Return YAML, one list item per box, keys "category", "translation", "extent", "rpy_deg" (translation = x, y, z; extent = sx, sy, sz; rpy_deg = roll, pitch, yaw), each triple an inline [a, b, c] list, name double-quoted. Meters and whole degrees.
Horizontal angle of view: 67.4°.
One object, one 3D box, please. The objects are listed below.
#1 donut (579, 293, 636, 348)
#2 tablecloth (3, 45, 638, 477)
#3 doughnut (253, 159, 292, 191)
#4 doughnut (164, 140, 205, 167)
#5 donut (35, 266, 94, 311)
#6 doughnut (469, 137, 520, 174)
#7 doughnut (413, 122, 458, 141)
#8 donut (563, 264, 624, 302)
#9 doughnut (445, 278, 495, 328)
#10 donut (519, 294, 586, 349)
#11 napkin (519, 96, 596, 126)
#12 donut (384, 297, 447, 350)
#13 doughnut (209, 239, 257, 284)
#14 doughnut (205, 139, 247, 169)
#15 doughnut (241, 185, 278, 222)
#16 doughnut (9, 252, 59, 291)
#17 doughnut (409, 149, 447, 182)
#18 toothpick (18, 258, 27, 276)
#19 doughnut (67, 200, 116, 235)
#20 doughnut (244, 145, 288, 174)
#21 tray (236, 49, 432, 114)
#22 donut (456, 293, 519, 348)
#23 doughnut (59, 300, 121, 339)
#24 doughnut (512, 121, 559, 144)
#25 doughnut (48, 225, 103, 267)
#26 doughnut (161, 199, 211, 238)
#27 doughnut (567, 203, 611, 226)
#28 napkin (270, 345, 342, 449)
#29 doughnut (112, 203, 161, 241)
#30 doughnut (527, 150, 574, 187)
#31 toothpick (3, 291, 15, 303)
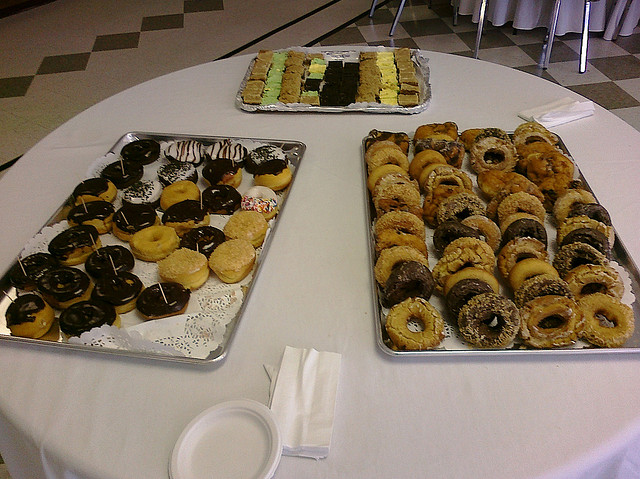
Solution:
- category: "donut"
  translation: [0.999, 0.281, 1.707]
  extent: [0.198, 0.067, 0.178]
  rpy_deg: [-5, 49, 1]
- category: "tablecloth"
  translation: [-0.191, -0.021, 2.219]
  extent: [2.561, 0.344, 2.303]
  rpy_deg: [-6, 48, -3]
- category: "doughnut"
  translation: [-0.224, -0.310, 2.282]
  extent: [0.165, 0.076, 0.149]
  rpy_deg: [13, 43, 13]
- category: "doughnut"
  translation: [-0.687, -0.436, 2.432]
  extent: [0.181, 0.057, 0.128]
  rpy_deg: [4, 43, 0]
- category: "donut"
  translation: [-0.984, 0.175, 1.832]
  extent: [0.176, 0.063, 0.170]
  rpy_deg: [12, 39, -8]
- category: "doughnut"
  translation: [0.816, -0.402, 2.226]
  extent: [0.209, 0.069, 0.180]
  rpy_deg: [-4, 77, -3]
- category: "doughnut"
  translation: [0.591, -0.547, 2.421]
  extent: [0.160, 0.041, 0.126]
  rpy_deg: [-18, 20, -36]
- category: "donut"
  translation: [1.024, 0.168, 1.844]
  extent: [0.246, 0.238, 0.075]
  rpy_deg: [8, 91, 12]
- category: "doughnut"
  translation: [0.536, 0.237, 1.729]
  extent: [0.066, 0.178, 0.196]
  rpy_deg: [-2, 15, -35]
- category: "donut"
  translation: [0.795, 0.283, 1.660]
  extent: [0.208, 0.070, 0.184]
  rpy_deg: [-9, 78, -4]
- category: "napkin"
  translation: [1.277, -0.692, 2.574]
  extent: [0.335, 0.072, 0.187]
  rpy_deg: [-16, 41, -10]
- category: "donut"
  translation: [0.329, 0.303, 1.718]
  extent: [0.209, 0.072, 0.201]
  rpy_deg: [3, 53, -3]
- category: "doughnut"
  translation: [-0.349, 0.088, 1.970]
  extent: [0.205, 0.093, 0.196]
  rpy_deg: [-1, 33, 10]
- category: "doughnut"
  translation: [-0.481, -0.433, 2.424]
  extent: [0.170, 0.050, 0.135]
  rpy_deg: [1, 42, -4]
- category: "doughnut"
  translation: [-0.298, -0.160, 2.192]
  extent: [0.215, 0.063, 0.202]
  rpy_deg: [1, 34, -30]
- category: "doughnut"
  translation: [-1.141, 0.118, 1.887]
  extent: [0.152, 0.046, 0.140]
  rpy_deg: [0, 34, -7]
- category: "doughnut"
  translation: [0.481, -0.337, 2.260]
  extent: [0.165, 0.145, 0.051]
  rpy_deg: [8, 5, 13]
- category: "toothpick"
  translation: [-1.175, 0.111, 1.884]
  extent: [0.101, 0.010, 0.007]
  rpy_deg: [41, 103, 27]
- category: "doughnut"
  translation: [-1.014, -0.118, 2.110]
  extent: [0.165, 0.076, 0.161]
  rpy_deg: [29, 44, 26]
- category: "doughnut"
  translation: [-0.279, -0.407, 2.397]
  extent: [0.176, 0.047, 0.159]
  rpy_deg: [5, 40, 10]
- category: "tray"
  translation: [0.098, -0.807, 2.692]
  extent: [0.955, 0.103, 0.550]
  rpy_deg: [1, 45, 2]
- category: "donut"
  translation: [0.581, 0.281, 1.679]
  extent: [0.195, 0.070, 0.180]
  rpy_deg: [-6, 69, -10]
- category: "doughnut"
  translation: [-0.835, 0.272, 1.744]
  extent: [0.153, 0.094, 0.150]
  rpy_deg: [35, 49, 25]
- category: "doughnut"
  translation: [1.061, -0.542, 2.373]
  extent: [0.143, 0.037, 0.137]
  rpy_deg: [-25, 48, -25]
- category: "doughnut"
  translation: [-1.024, 0.026, 2.015]
  extent: [0.178, 0.082, 0.171]
  rpy_deg: [5, 35, 8]
- category: "doughnut"
  translation: [-0.600, -0.103, 2.123]
  extent: [0.175, 0.056, 0.175]
  rpy_deg: [21, 47, 19]
- category: "doughnut"
  translation: [1.100, -0.115, 1.971]
  extent: [0.127, 0.039, 0.116]
  rpy_deg: [10, 42, 17]
- category: "napkin"
  translation: [-0.079, 0.555, 1.591]
  extent: [0.261, 0.320, 0.047]
  rpy_deg: [24, 46, 24]
- category: "doughnut"
  translation: [-0.819, -0.094, 2.101]
  extent: [0.178, 0.078, 0.163]
  rpy_deg: [-1, 39, -7]
- category: "doughnut"
  translation: [1.016, -0.323, 2.137]
  extent: [0.182, 0.049, 0.159]
  rpy_deg: [-2, 55, -2]
- category: "toothpick"
  translation: [-1.201, 0.219, 1.838]
  extent: [0.063, 0.006, 0.006]
  rpy_deg: [37, 19, 0]
